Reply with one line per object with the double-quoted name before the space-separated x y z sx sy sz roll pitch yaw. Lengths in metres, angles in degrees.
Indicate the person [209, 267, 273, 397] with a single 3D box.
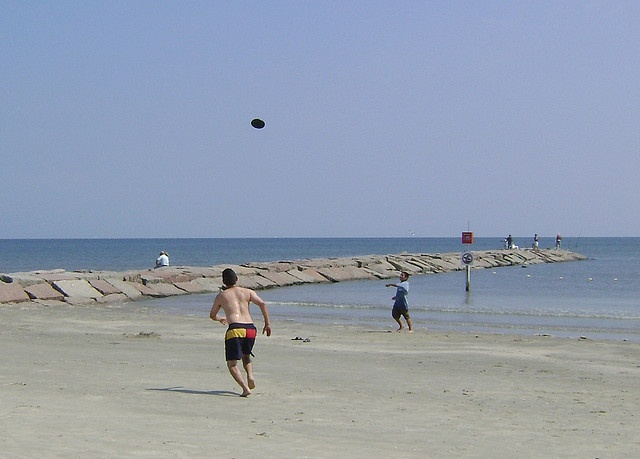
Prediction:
"person" -1.545 1.959 20.394 1.076 2.303 0.520 2 0 -6
